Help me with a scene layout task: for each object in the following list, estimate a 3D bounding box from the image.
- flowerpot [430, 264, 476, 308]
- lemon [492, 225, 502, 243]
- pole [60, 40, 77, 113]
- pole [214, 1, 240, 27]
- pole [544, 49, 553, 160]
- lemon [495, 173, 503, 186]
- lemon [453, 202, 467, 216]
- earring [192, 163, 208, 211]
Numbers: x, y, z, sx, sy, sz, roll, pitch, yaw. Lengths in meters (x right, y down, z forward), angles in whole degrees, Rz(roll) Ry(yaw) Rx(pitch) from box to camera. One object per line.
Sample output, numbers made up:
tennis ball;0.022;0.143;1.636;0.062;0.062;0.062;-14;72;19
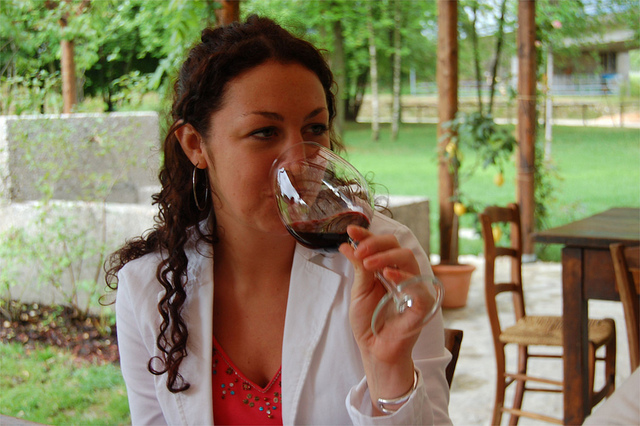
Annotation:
flowerpot;1.179;0.645;5.891;0.444;0.348;0.445;-2;0;-38
lemon;1.490;0.172;5.559;0.069;0.116;0.115;6;34;11
pole;-2.296;-1.263;6.077;0.125;0.692;0.289;-2;2;-21
pole;-0.630;-1.379;4.550;0.174;0.231;0.297;-1;2;-9
pole;2.029;-0.965;5.857;0.071;0.962;0.176;0;2;19
lemon;1.609;-0.303;5.908;0.062;0.089;0.064;1;3;3
lemon;1.263;-0.040;5.928;0.116;0.126;0.162;-1;2;9
earring;-0.492;-0.101;2.740;0.060;0.182;0.090;-2;2;-13
